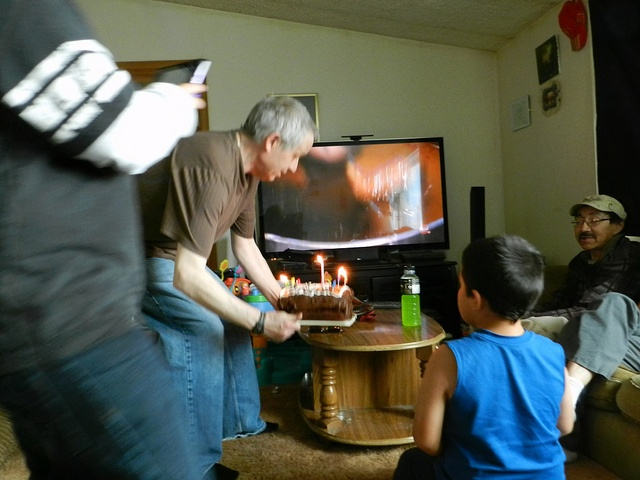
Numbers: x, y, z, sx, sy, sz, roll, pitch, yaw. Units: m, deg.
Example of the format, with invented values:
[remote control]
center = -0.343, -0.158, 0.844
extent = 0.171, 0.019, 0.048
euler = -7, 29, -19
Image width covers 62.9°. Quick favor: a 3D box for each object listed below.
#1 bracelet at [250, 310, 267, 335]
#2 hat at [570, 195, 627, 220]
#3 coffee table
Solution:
[bracelet]
center = -0.198, 0.277, 1.749
extent = 0.065, 0.062, 0.064
euler = 1, -3, 2
[hat]
center = 1.431, -0.185, 2.640
extent = 0.209, 0.071, 0.150
euler = 18, -8, -26
[coffee table]
center = 0.275, 0.578, 2.484
extent = 0.636, 0.365, 1.029
euler = -3, -1, 6
